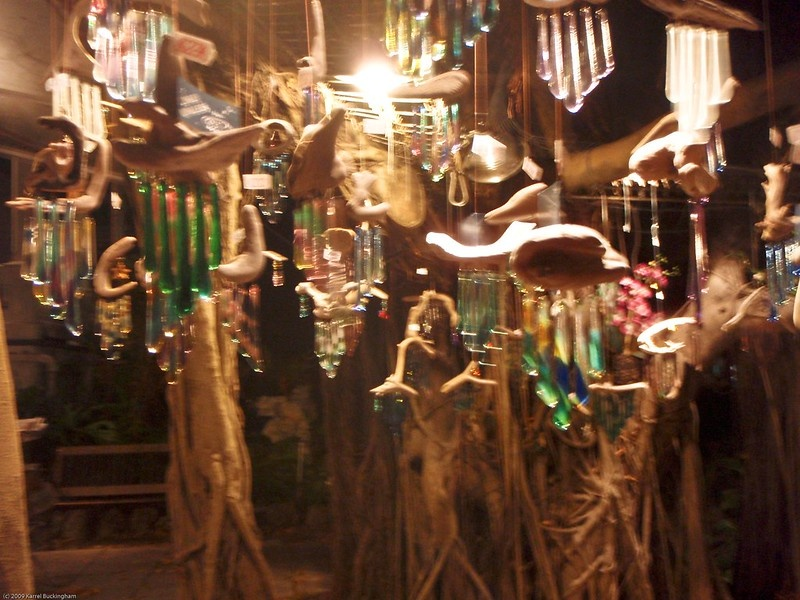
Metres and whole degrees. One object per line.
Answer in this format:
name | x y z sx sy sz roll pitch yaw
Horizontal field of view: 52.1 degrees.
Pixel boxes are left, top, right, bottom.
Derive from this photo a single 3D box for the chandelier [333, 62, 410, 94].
chandelier | -0.143 -1.180 4.382 0.248 0.091 0.234 -6 31 -22
